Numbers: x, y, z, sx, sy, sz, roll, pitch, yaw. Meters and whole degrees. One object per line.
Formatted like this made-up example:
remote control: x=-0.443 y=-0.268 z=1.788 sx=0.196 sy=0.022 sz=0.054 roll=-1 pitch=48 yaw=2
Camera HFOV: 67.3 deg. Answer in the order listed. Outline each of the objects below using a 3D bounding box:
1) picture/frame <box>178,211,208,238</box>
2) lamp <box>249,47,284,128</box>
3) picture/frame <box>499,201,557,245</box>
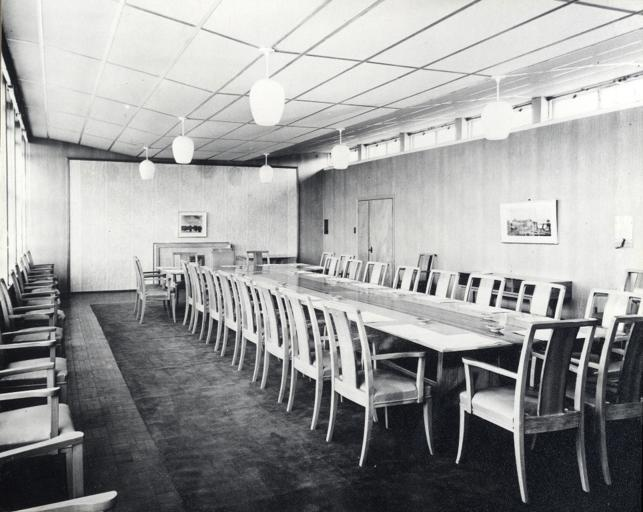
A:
picture/frame: x=-3.686 y=-0.902 z=13.603 sx=0.709 sy=0.703 sz=0.072 roll=-1 pitch=-1 yaw=-32
lamp: x=-0.573 y=-1.811 z=5.089 sx=0.402 sy=0.807 sz=0.406 roll=4 pitch=-6 yaw=-36
picture/frame: x=3.451 y=-0.564 z=8.003 sx=0.108 sy=0.713 sz=1.130 roll=-3 pitch=6 yaw=-25
